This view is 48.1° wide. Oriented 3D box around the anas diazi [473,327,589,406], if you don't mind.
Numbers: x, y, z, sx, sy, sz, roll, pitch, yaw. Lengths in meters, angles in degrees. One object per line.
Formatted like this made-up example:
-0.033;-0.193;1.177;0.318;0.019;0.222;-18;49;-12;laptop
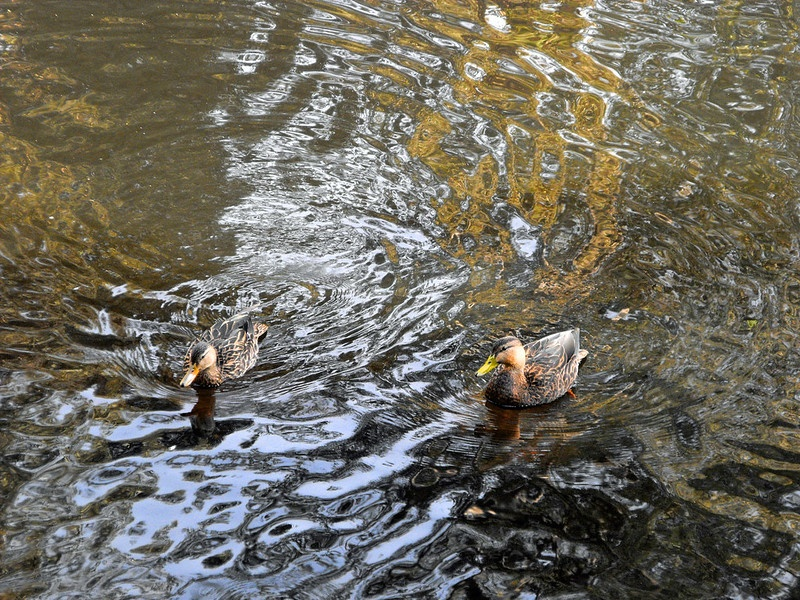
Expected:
1.839;0.944;12.268;1.372;0.812;1.011;-20;52;-37;anas diazi

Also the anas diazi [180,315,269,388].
-2.380;0.672;12.229;0.790;0.527;1.224;22;45;14;anas diazi
